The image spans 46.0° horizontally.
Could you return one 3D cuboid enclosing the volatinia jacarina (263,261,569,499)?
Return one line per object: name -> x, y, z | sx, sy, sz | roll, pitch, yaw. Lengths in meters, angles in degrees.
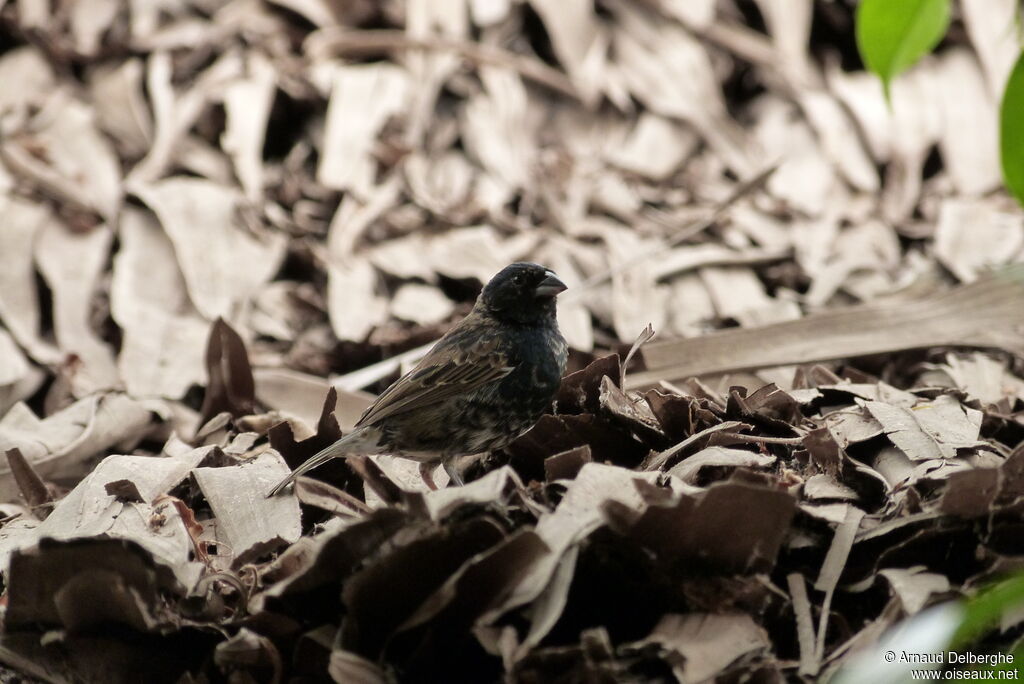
volatinia jacarina -> -0.158, 0.103, 2.282 | 0.609, 0.384, 0.208 | -14, -9, 3
